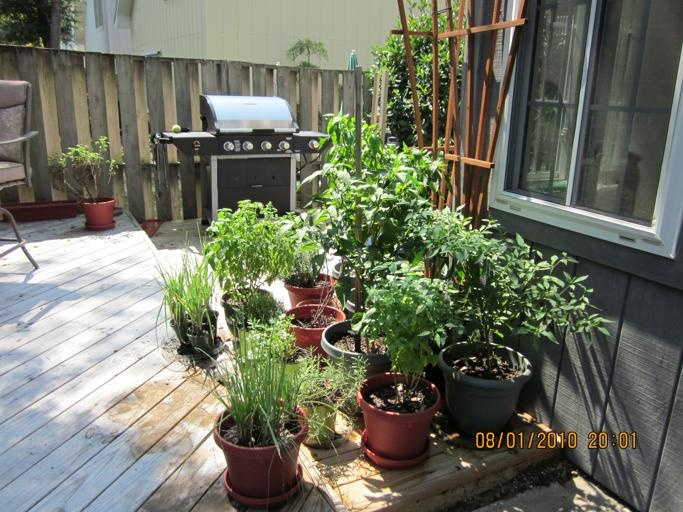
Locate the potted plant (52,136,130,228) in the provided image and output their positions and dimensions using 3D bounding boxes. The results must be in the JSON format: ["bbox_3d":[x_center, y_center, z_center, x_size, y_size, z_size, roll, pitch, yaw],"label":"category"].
[{"bbox_3d":[-2.662,-0.793,5.032,0.552,0.924,0.694,-15,9,-4],"label":"potted plant"}]

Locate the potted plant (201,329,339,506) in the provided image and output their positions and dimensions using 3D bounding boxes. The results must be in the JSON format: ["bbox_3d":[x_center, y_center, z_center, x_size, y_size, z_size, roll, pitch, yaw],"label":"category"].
[{"bbox_3d":[-0.245,0.650,2.223,0.536,0.908,0.549,2,19,5],"label":"potted plant"}]

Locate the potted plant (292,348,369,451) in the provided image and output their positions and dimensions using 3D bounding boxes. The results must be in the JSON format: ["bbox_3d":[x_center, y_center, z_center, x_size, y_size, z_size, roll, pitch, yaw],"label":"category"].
[{"bbox_3d":[-0.082,0.699,2.482,0.447,0.434,0.579,-13,-24,-5],"label":"potted plant"}]

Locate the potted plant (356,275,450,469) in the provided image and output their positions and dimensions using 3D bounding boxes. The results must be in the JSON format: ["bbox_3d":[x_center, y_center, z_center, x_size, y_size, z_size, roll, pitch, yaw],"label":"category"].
[{"bbox_3d":[0.283,0.518,2.205,0.415,0.873,0.578,2,13,-14],"label":"potted plant"}]

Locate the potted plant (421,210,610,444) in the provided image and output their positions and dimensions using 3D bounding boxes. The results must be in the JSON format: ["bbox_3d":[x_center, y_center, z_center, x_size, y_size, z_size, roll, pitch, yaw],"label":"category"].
[{"bbox_3d":[0.772,0.396,2.489,0.841,1.008,0.668,-3,-14,37],"label":"potted plant"}]

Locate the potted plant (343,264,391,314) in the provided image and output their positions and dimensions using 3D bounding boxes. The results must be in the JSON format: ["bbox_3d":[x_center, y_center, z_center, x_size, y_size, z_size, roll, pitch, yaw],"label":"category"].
[{"bbox_3d":[0.094,0.210,2.639,0.229,0.201,0.254,-1,11,-4],"label":"potted plant"}]

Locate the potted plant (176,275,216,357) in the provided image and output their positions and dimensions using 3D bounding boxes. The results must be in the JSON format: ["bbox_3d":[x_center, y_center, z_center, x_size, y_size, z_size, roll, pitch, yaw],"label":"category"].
[{"bbox_3d":[-0.854,0.357,2.768,0.223,0.467,0.270,-3,26,-11],"label":"potted plant"}]

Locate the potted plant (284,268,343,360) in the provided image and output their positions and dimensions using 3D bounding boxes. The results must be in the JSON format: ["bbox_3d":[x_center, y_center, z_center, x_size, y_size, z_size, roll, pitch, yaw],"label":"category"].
[{"bbox_3d":[-0.179,0.339,2.965,0.364,0.333,0.405,-6,15,-24],"label":"potted plant"}]
